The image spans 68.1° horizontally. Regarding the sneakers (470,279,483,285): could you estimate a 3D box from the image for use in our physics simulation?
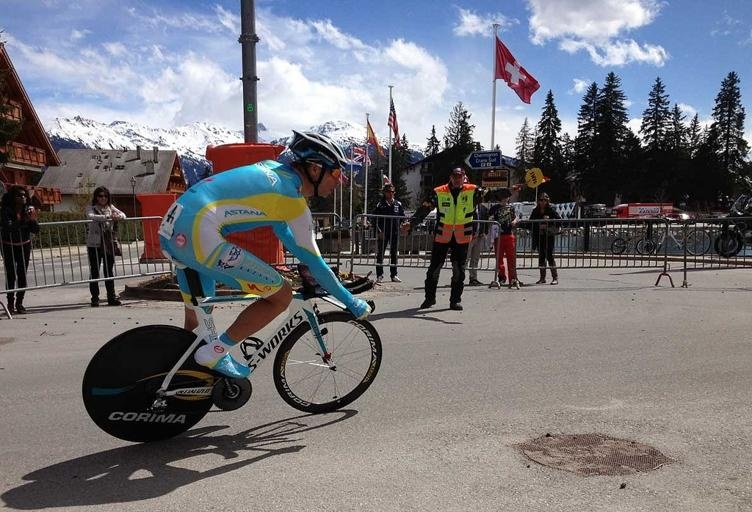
[{"bbox_3d":[2.358,0.621,13.216,0.337,0.148,0.127,0,4,-8],"label":"sneakers"}]

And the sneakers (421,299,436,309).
[{"bbox_3d":[0.902,0.830,9.765,0.186,0.152,0.461,4,9,30],"label":"sneakers"}]

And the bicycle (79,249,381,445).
[{"bbox_3d":[-1.260,0.836,5.386,2.717,1.621,1.249,-7,16,-23],"label":"bicycle"}]

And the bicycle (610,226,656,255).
[{"bbox_3d":[6.853,-0.436,15.178,1.229,0.822,0.651,-9,18,1],"label":"bicycle"}]

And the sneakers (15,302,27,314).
[{"bbox_3d":[-5.998,0.876,9.427,0.141,0.179,0.421,0,-8,-31],"label":"sneakers"}]

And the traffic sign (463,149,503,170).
[{"bbox_3d":[4.713,-4.223,24.336,1.487,0.787,1.185,4,9,25],"label":"traffic sign"}]

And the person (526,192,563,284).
[{"bbox_3d":[4.171,-0.435,13.795,0.765,2.183,1.376,2,8,17],"label":"person"}]

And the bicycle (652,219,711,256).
[{"bbox_3d":[8.312,-0.488,15.042,1.026,1.090,3.085,6,10,36],"label":"bicycle"}]

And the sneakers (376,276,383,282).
[{"bbox_3d":[0.101,0.550,13.118,0.093,0.136,0.159,-7,-15,32],"label":"sneakers"}]

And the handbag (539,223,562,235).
[{"bbox_3d":[4.289,-0.660,13.663,0.374,0.173,0.275,-1,14,-16],"label":"handbag"}]
